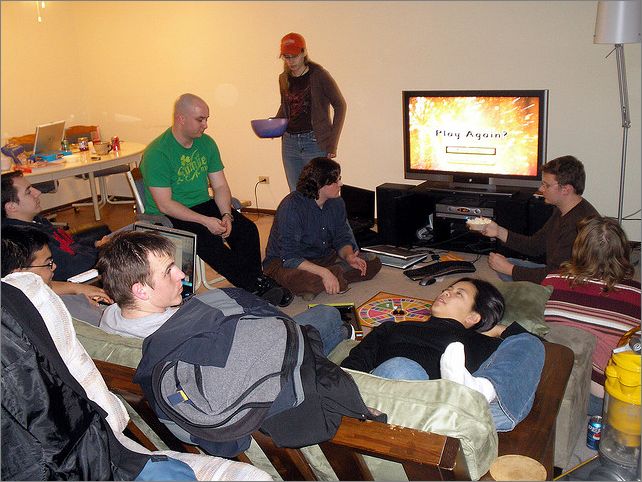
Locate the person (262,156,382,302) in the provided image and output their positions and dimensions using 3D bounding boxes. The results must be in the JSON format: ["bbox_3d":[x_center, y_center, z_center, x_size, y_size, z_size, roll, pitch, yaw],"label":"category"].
[{"bbox_3d":[-0.008,-0.119,3.561,0.821,0.970,0.741,-13,21,-39],"label":"person"}]

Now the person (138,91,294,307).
[{"bbox_3d":[-0.734,-0.279,3.499,1.363,1.471,0.639,21,26,30],"label":"person"}]

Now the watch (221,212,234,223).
[{"bbox_3d":[-0.704,-0.184,3.601,0.067,0.028,0.060,28,9,8],"label":"watch"}]

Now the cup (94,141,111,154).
[{"bbox_3d":[-2.433,-1.041,5.307,0.161,0.113,0.130,1,4,-32],"label":"cup"}]

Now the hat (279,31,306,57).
[{"bbox_3d":[-0.245,-1.725,4.115,0.162,0.146,0.244,5,37,11],"label":"hat"}]

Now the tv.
[{"bbox_3d":[1.354,-0.862,4.041,0.963,0.694,0.106,7,21,25],"label":"tv"}]

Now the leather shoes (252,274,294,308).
[{"bbox_3d":[-0.351,0.362,3.375,0.235,0.089,0.182,28,43,30],"label":"leather shoes"}]

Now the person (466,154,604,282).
[{"bbox_3d":[1.580,-0.105,3.561,0.927,1.034,0.647,6,24,36],"label":"person"}]

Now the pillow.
[{"bbox_3d":[1.034,0.342,2.403,0.244,0.076,0.254,6,39,24],"label":"pillow"}]

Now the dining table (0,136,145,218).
[{"bbox_3d":[-2.431,-0.789,4.956,0.824,0.436,1.144,-12,30,-13],"label":"dining table"}]
